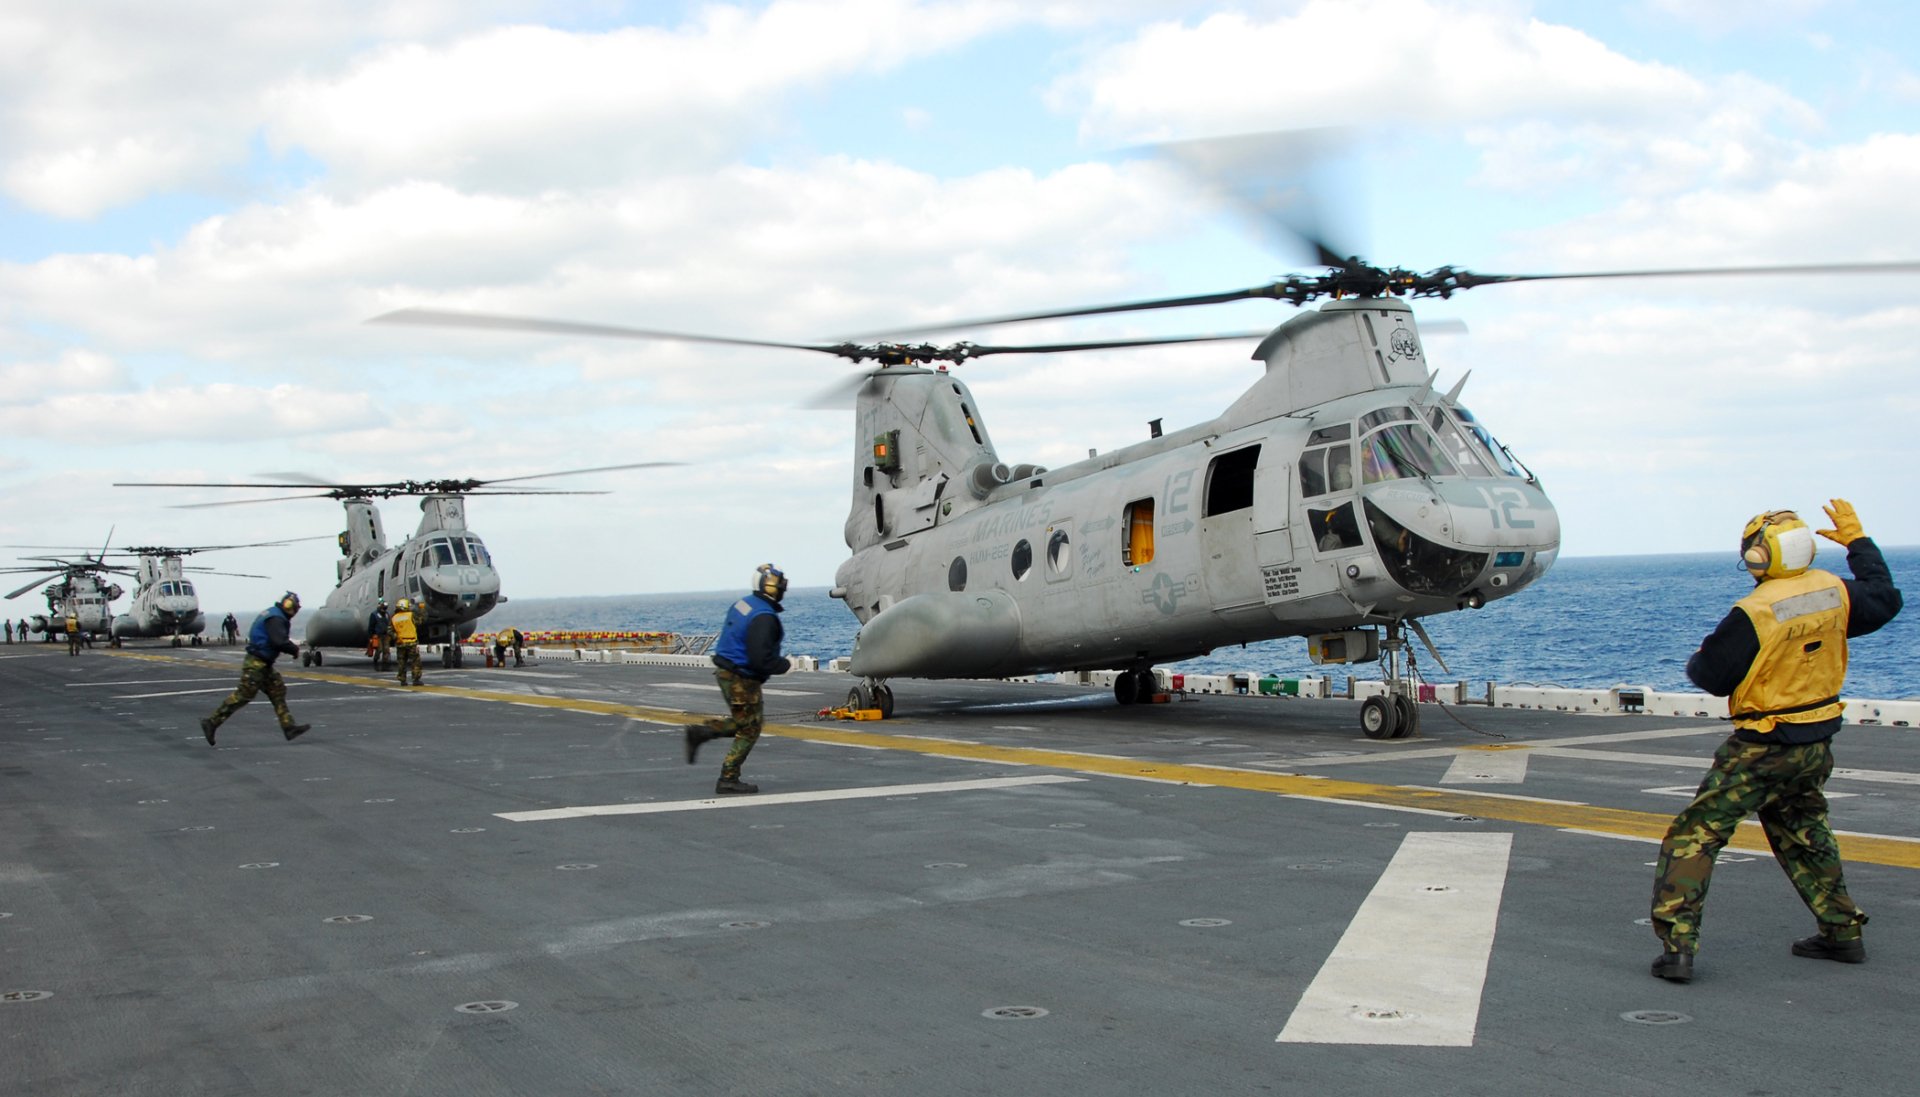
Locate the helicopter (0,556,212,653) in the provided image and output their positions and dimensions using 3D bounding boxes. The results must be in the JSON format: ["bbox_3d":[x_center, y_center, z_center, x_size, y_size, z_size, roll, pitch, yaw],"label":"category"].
[{"bbox_3d":[-47.191,3.393,69.390,11.912,3.190,14.258,-3,6,-40],"label":"helicopter"}]

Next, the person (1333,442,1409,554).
[{"bbox_3d":[6.205,-0.896,18.623,0.635,1.626,0.259,-2,-2,6],"label":"person"}]

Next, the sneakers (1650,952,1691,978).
[{"bbox_3d":[4.806,2.817,8.326,0.191,0.158,0.282,0,6,4],"label":"sneakers"}]

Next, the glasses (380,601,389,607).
[{"bbox_3d":[-19.680,1.898,42.431,0.278,0.078,0.282,0,8,-9],"label":"glasses"}]
